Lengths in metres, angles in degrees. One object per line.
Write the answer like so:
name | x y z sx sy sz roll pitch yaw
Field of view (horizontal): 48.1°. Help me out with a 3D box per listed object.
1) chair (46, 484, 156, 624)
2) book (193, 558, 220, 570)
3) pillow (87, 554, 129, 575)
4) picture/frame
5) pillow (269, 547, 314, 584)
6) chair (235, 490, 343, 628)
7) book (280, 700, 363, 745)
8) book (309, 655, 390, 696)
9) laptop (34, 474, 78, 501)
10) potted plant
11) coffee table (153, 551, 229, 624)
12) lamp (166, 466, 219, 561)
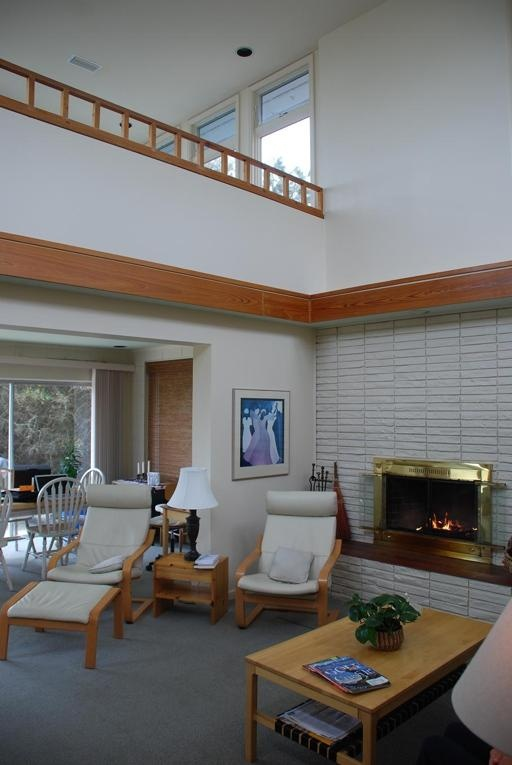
chair | -1.175 1.354 4.784 0.870 1.221 1.009 -2 -4 13
book | -0.387 1.423 4.534 0.179 0.079 0.240 1 -5 7
pillow | -1.138 1.405 4.474 0.276 0.114 0.279 2 -5 -12
picture/frame | 0.030 0.505 5.605 0.070 1.032 0.897 -2 -3 40
pillow | 0.269 1.434 4.507 0.327 0.211 0.275 0 -5 10
chair | 0.283 1.422 4.548 0.718 0.999 0.887 0 -2 14
book | 0.290 1.485 2.531 0.327 0.025 0.283 -3 -7 40
book | 0.414 1.308 2.591 0.271 0.028 0.370 4 -6 -29
laptop | -2.167 1.132 6.175 0.329 0.279 0.454 -6 -9 42
potted plant | 0.672 1.221 3.004 0.309 0.226 0.313 1 -4 18
coffee table | -0.530 1.651 4.667 0.542 0.473 0.477 0 -5 18
lamp | -0.525 1.066 4.712 0.369 0.741 0.627 2 -5 -8
